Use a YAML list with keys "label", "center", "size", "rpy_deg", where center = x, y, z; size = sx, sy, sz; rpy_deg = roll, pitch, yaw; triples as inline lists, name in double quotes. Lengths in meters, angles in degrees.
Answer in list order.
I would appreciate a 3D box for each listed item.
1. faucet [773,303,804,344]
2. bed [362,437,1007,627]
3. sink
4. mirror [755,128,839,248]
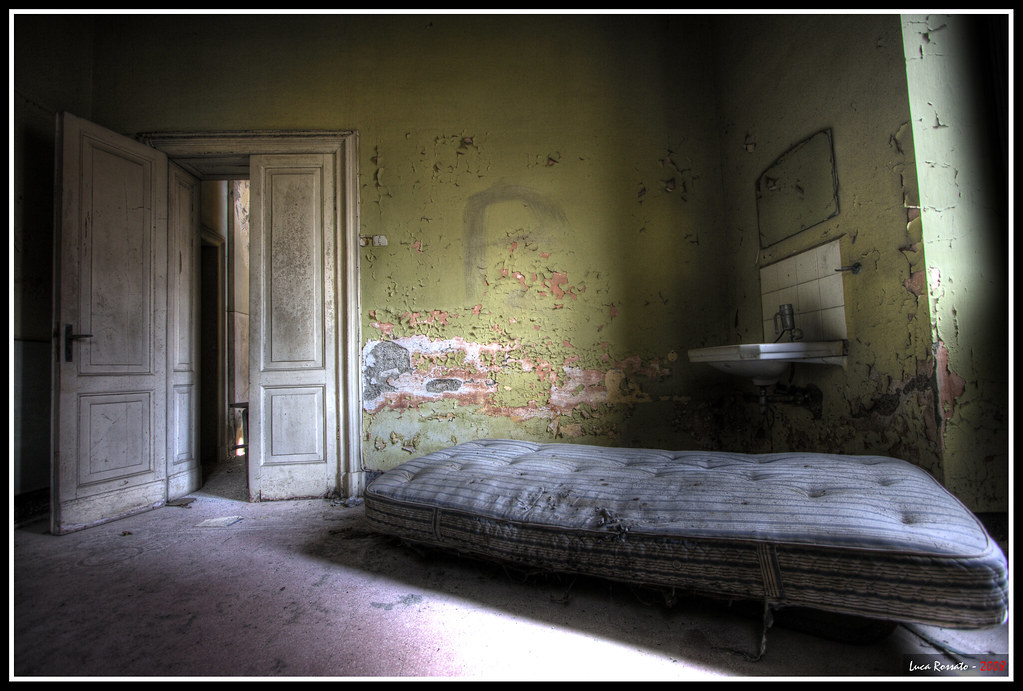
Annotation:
- label: "faucet"
  center: [1.815, -0.142, 4.319]
  size: [0.181, 0.266, 0.327]
  rpy_deg: [2, 8, 17]
- label: "bed"
  center: [0.791, 0.828, 3.135]
  size: [2.155, 0.350, 1.101]
  rpy_deg: [-2, 2, 20]
- label: "sink"
  center: [1.624, 0.107, 4.263]
  size: [0.628, 0.332, 0.724]
  rpy_deg: [-2, 8, -14]
- label: "mirror"
  center: [1.839, -0.991, 4.358]
  size: [0.815, 0.587, 0.066]
  rpy_deg: [-29, 28, -23]
